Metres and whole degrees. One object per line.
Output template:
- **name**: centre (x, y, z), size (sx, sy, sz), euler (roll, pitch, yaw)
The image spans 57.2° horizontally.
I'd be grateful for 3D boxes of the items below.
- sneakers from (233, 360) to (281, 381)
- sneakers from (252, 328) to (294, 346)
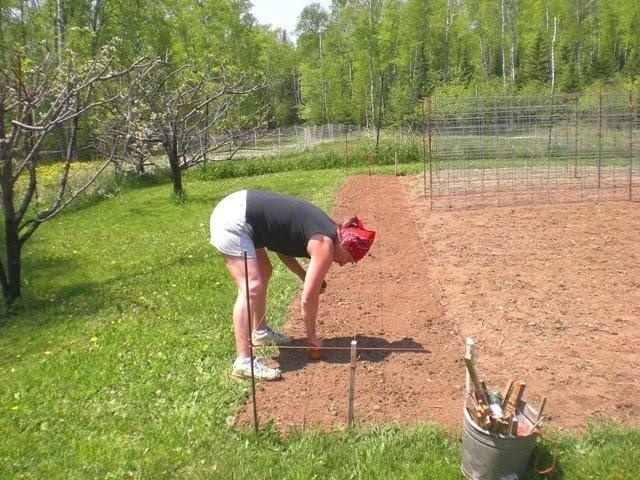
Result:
- **sneakers**: centre (-0.778, 1.571, 7.051), size (0.615, 0.309, 0.267), euler (5, 4, -6)
- **sneakers**: centre (-0.645, 1.264, 7.800), size (0.521, 0.281, 0.214), euler (1, 2, -9)
